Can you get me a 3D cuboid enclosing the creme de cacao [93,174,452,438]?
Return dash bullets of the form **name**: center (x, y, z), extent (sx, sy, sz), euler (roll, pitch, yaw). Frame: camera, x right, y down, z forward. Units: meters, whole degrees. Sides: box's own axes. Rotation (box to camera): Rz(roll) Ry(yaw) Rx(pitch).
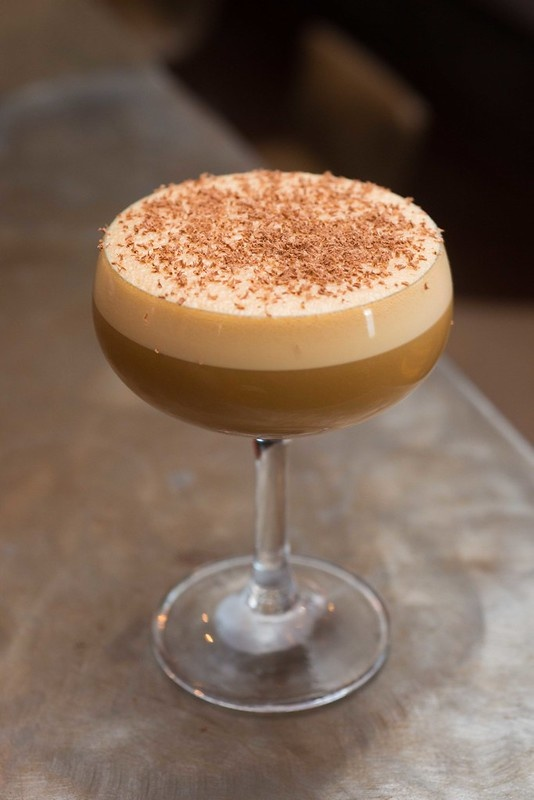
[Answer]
- **creme de cacao**: center (0.011, -0.083, 0.632), extent (0.254, 0.127, 0.311), euler (4, 34, 7)
